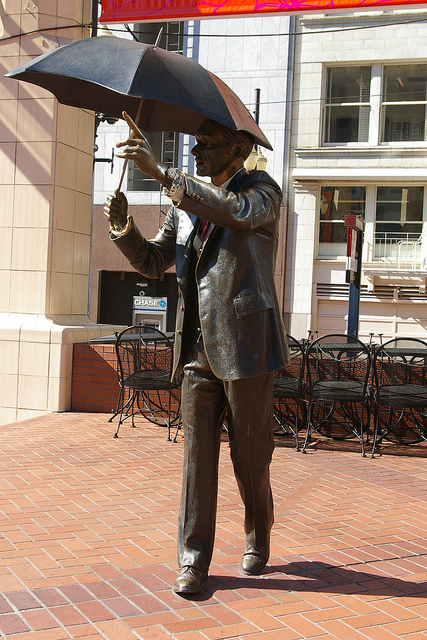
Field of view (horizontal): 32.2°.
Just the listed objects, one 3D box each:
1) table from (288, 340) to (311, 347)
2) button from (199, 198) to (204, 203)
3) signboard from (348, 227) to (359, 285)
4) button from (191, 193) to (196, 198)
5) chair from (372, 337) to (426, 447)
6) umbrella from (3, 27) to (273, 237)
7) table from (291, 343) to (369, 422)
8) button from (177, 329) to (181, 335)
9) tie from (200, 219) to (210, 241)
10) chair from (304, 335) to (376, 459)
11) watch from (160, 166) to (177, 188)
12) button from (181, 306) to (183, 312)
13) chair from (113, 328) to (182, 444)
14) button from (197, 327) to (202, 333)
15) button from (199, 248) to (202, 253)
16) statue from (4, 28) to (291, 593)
[{"bbox_3d":[0.771,0.211,6.642,0.195,0.064,0.494,3,1,7],"label":"table"},{"bbox_3d":[-0.042,-0.409,2.502,0.013,0.011,0.012,-31,44,-8],"label":"button"},{"bbox_3d":[1.803,-0.886,9.627,0.092,0.683,0.538,-3,-25,20],"label":"signboard"},{"bbox_3d":[-0.068,-0.424,2.492,0.015,0.015,0.004,3,0,-6],"label":"button"},{"bbox_3d":[1.693,0.622,6.807,0.479,0.985,2.029,3,1,12],"label":"chair"},{"bbox_3d":[-0.316,-0.823,2.941,0.967,0.824,0.986,3,1,-15],"label":"umbrella"},{"bbox_3d":[1.100,0.475,6.780,0.527,0.811,0.542,2,1,12],"label":"table"},{"bbox_3d":[-0.138,0.045,2.946,0.013,0.015,0.047,1,9,6],"label":"button"},{"bbox_3d":[-0.039,-0.362,2.907,0.037,0.067,0.039,7,0,-31],"label":"tie"},{"bbox_3d":[1.112,0.559,6.432,0.760,1.036,0.784,0,10,-10],"label":"chair"},{"bbox_3d":[-0.147,-0.496,2.536,0.071,0.061,0.054,-24,10,4],"label":"watch"},{"bbox_3d":[-0.126,-0.048,2.958,0.008,0.019,0.006,15,24,32],"label":"button"},{"bbox_3d":[-0.628,0.534,7.092,0.656,1.054,1.428,3,1,-7],"label":"chair"},{"bbox_3d":[-0.056,0.038,2.914,0.016,0.021,0.005,-1,5,7],"label":"button"},{"bbox_3d":[-0.051,-0.274,2.872,0.008,0.011,0.003,-6,-2,29],"label":"button"},{"bbox_3d":[-0.203,-0.240,2.995,0.998,2.658,0.936,1,2,-30],"label":"statue"}]
